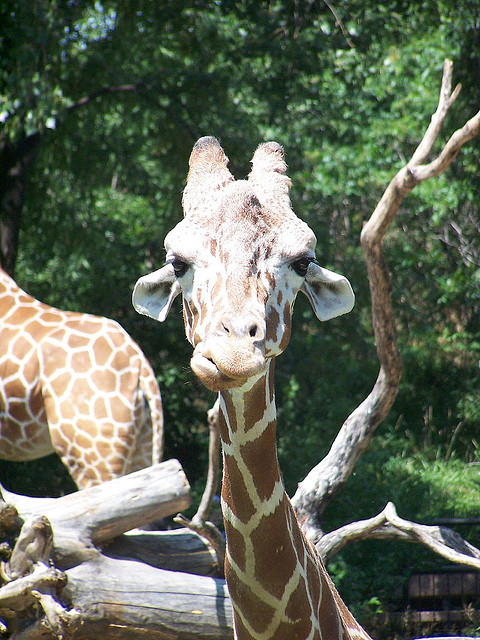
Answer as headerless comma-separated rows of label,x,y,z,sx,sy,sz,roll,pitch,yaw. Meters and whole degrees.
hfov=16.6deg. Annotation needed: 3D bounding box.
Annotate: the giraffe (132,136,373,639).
giraffe,0.091,0.564,10.387,1.288,3.009,0.988,16,22,39
